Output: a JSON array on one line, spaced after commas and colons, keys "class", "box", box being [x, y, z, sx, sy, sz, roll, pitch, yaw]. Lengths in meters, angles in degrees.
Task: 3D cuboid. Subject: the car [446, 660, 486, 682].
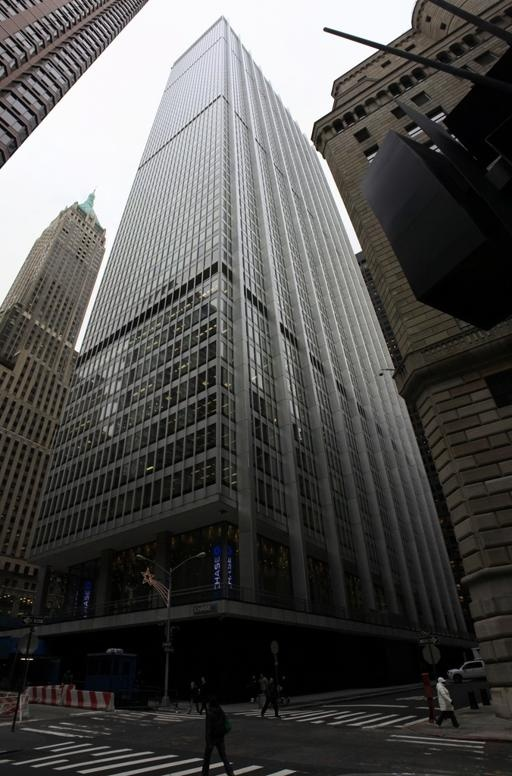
[{"class": "car", "box": [16.138, 21.742, 36.964, 2.559, 1.334, 1.523, -23, -33, 22]}]
